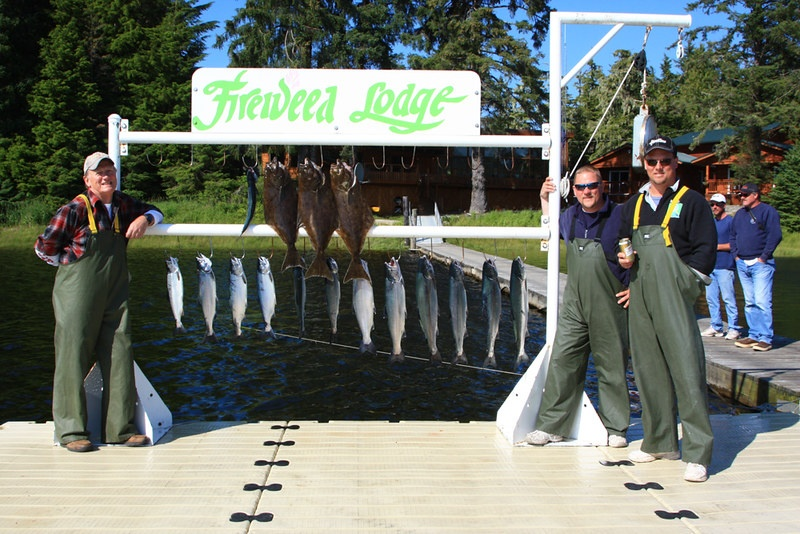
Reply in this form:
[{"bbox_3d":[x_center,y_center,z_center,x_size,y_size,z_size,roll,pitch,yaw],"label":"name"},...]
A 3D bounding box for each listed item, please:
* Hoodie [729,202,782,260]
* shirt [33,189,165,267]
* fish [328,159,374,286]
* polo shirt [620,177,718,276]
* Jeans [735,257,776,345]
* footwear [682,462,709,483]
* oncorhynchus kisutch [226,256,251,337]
[{"bbox_3d":[6.013,-0.562,12.229,0.410,0.927,0.798,-6,13,-31],"label":"Hoodie"},{"bbox_3d":[-3.441,-0.438,8.242,1.237,0.804,0.338,-8,13,-34],"label":"shirt"},{"bbox_3d":[-0.552,-0.494,8.524,0.469,1.462,0.603,-4,11,-22],"label":"fish"},{"bbox_3d":[3.000,-0.357,8.240,0.653,1.230,1.242,2,-2,-40],"label":"polo shirt"},{"bbox_3d":[5.969,0.591,12.260,0.586,1.430,0.410,8,13,36],"label":"Jeans"},{"bbox_3d":[3.181,2.192,7.755,0.328,0.186,0.141,-4,12,-22],"label":"footwear"},{"bbox_3d":[-1.998,0.329,9.087,0.286,1.432,0.239,0,0,-19],"label":"oncorhynchus kisutch"}]
